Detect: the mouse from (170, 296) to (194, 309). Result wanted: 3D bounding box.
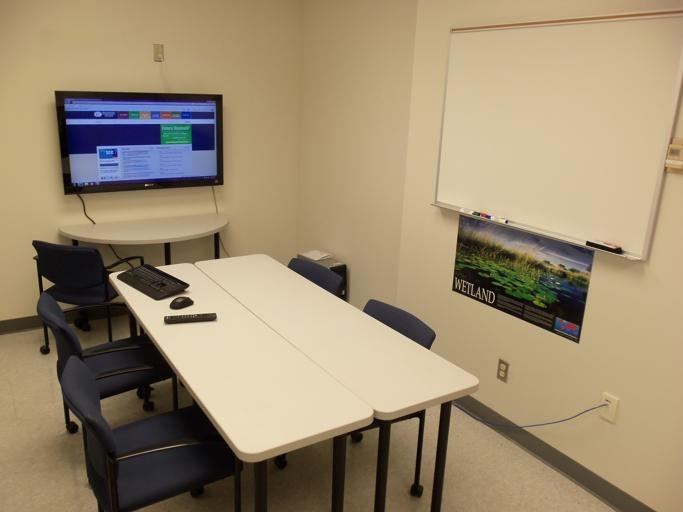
[{"bbox_3d":[-0.978,0.275,3.158,0.062,0.043,0.113,10,16,26],"label":"mouse"}]

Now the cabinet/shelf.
[{"bbox_3d":[-1.354,0.525,3.254,0.840,0.929,0.682,-13,30,-33],"label":"cabinet/shelf"}]

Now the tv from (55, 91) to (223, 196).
[{"bbox_3d":[-1.850,-1.034,4.582,0.960,0.615,0.048,-12,23,-29],"label":"tv"}]
